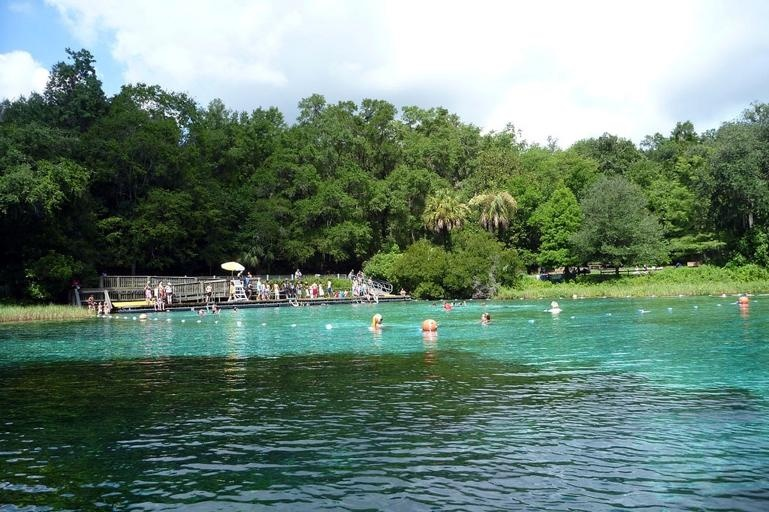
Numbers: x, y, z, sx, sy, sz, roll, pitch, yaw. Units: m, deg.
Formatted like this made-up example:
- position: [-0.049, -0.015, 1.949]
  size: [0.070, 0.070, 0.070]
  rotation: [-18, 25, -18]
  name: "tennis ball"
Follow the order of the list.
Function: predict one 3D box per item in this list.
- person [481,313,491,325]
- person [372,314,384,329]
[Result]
- position: [7.370, 4.624, 45.187]
  size: [0.672, 0.857, 0.824]
  rotation: [-3, -27, 7]
  name: "person"
- position: [-0.475, 4.482, 42.591]
  size: [0.815, 1.117, 1.027]
  rotation: [-8, 9, -10]
  name: "person"
